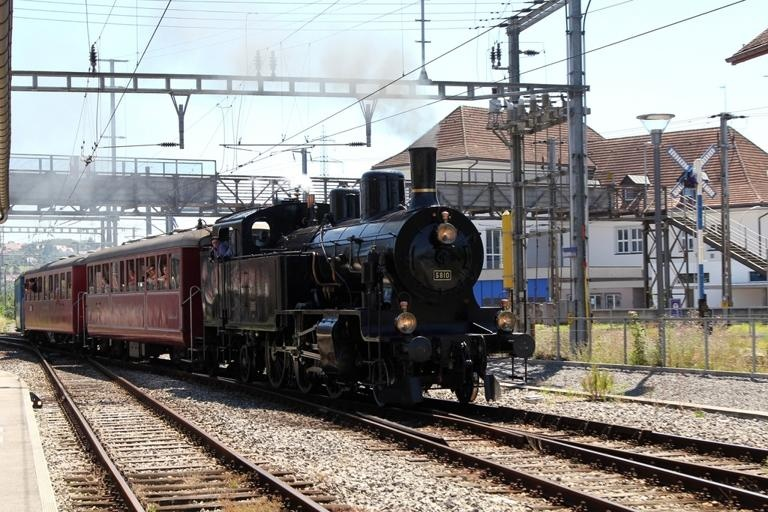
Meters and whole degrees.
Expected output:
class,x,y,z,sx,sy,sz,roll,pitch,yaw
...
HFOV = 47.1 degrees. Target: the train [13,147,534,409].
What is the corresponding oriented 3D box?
class,x,y,z,sx,sy,sz,roll,pitch,yaw
train,-6.770,1.192,32.082,5.418,6.089,30.583,1,-2,-26
